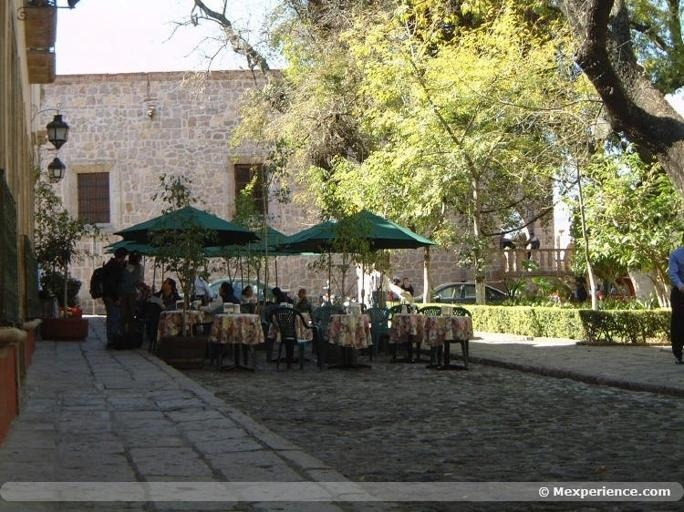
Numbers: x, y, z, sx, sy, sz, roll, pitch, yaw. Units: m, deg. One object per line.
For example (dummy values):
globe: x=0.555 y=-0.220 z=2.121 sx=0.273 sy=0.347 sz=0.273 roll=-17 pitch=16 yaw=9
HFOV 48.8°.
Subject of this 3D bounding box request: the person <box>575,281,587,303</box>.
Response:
person: x=6.310 y=0.938 z=19.888 sx=0.251 sy=0.571 sz=0.796 roll=-4 pitch=-6 yaw=17
